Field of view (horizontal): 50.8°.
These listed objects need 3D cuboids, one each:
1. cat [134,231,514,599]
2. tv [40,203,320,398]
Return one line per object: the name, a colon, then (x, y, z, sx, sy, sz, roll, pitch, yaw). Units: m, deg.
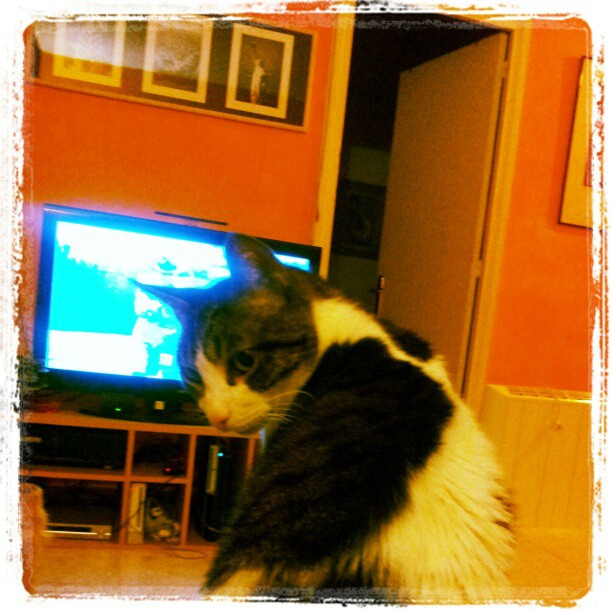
cat: (-0.015, 0.178, 0.939, 0.653, 0.415, 0.234, 26, -45, -36)
tv: (-0.379, -0.004, 1.589, 0.690, 0.383, 0.010, 2, 2, -6)
